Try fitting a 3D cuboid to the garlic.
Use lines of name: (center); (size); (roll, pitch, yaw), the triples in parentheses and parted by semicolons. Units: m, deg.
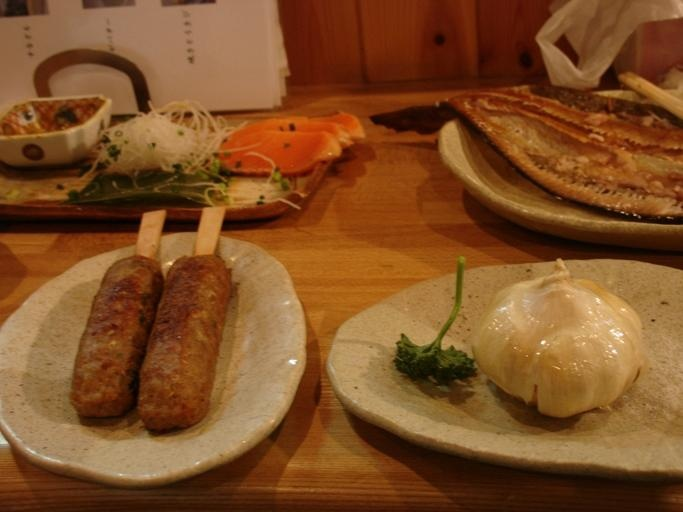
garlic: (0.337, 0.123, 0.938); (0.239, 0.163, 0.213); (13, 32, 27)
